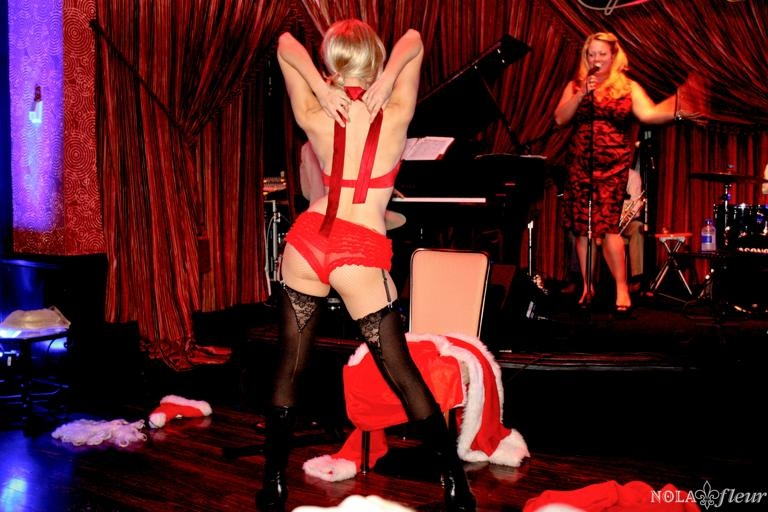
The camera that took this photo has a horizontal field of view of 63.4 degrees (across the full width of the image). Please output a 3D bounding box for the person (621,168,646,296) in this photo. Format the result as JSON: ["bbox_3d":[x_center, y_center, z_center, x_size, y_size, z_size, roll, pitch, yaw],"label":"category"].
[{"bbox_3d":[2.548,-0.260,6.299,0.281,1.345,0.291,4,-1,9],"label":"person"}]

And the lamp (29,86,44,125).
[{"bbox_3d":[-2.838,-1.235,5.041,0.196,0.212,0.059,7,2,38],"label":"lamp"}]

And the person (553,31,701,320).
[{"bbox_3d":[1.881,-0.711,5.130,0.894,2.363,0.640,6,2,-10],"label":"person"}]

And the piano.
[{"bbox_3d":[0.795,-1.123,6.116,1.485,1.995,1.484,5,-2,-21],"label":"piano"}]

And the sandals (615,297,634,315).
[{"bbox_3d":[2.055,0.420,5.306,0.138,0.119,0.134,3,-10,-9],"label":"sandals"}]
